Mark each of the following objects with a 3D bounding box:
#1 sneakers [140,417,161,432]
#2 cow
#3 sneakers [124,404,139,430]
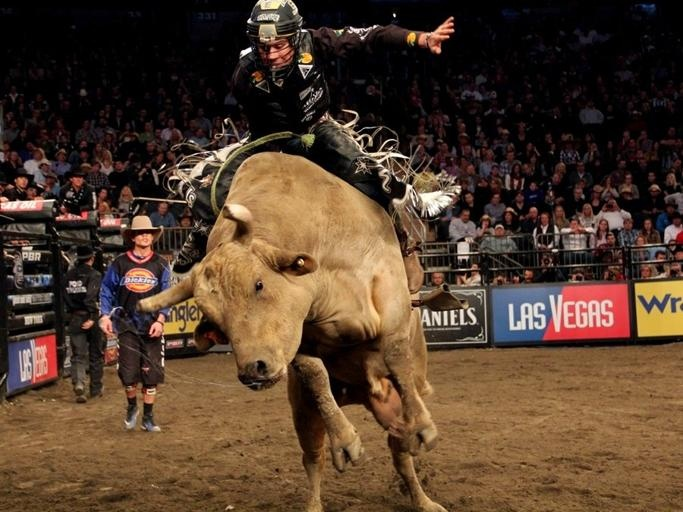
[{"bbox_3d":[-3.181,2.874,15.060,0.446,0.172,0.166,-2,0,40],"label":"sneakers"},{"bbox_3d":[-0.361,0.789,10.781,3.183,4.122,1.295,1,-5,-38],"label":"cow"},{"bbox_3d":[-3.620,2.768,15.142,0.191,0.466,0.227,-3,-22,20],"label":"sneakers"}]
